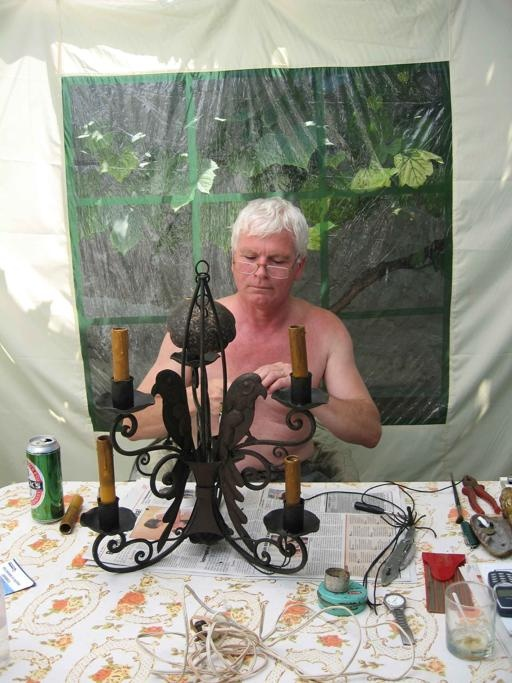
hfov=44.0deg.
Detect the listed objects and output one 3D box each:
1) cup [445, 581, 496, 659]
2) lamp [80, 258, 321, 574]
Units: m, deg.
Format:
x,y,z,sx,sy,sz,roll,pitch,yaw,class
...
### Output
x,y,z,sx,sy,sz,roll,pitch,yaw,class
0.327,0.417,0.957,0.079,0.107,0.078,-3,14,1,cup
-0.121,0.140,1.209,0.378,0.550,0.431,-2,-2,42,lamp
